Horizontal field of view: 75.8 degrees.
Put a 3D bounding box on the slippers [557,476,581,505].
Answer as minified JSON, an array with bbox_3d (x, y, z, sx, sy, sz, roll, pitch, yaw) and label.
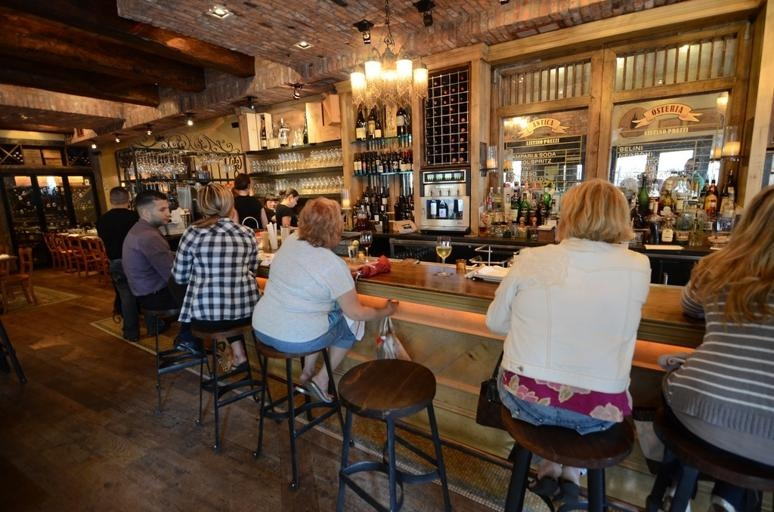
[{"bbox_3d":[1.331,1.715,3.635,0.125,0.076,0.216,-1,1,21],"label":"slippers"}]

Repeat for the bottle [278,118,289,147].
[{"bbox_3d":[-1.718,-2.043,8.290,0.178,0.494,0.389,-2,10,-11],"label":"bottle"}]

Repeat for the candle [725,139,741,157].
[{"bbox_3d":[3.741,-1.153,5.374,0.224,0.166,0.085,-5,12,-28],"label":"candle"}]

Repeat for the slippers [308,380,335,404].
[{"bbox_3d":[-0.599,1.227,4.492,0.091,0.262,0.143,-49,29,-5],"label":"slippers"}]

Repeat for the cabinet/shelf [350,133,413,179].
[{"bbox_3d":[-0.063,-1.495,7.390,0.853,0.426,0.116,-1,-1,24],"label":"cabinet/shelf"}]

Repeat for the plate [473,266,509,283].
[{"bbox_3d":[0.960,0.155,4.454,0.196,0.057,0.189,6,11,32],"label":"plate"}]

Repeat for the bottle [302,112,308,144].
[{"bbox_3d":[-1.314,-2.018,8.018,0.078,0.441,0.282,-3,11,-13],"label":"bottle"}]

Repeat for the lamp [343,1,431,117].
[{"bbox_3d":[0.027,-2.406,5.924,1.159,1.530,1.056,0,14,9],"label":"lamp"}]

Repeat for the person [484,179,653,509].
[{"bbox_3d":[1.277,0.370,3.534,1.035,1.733,0.436,2,11,11],"label":"person"}]

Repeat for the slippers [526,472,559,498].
[{"bbox_3d":[1.161,1.702,3.668,0.115,0.119,0.340,-1,-8,36],"label":"slippers"}]

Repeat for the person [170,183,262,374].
[{"bbox_3d":[-1.606,0.002,4.676,0.786,1.342,0.525,-3,12,-17],"label":"person"}]

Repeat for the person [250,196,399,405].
[{"bbox_3d":[-0.628,0.288,4.253,1.054,1.545,0.410,-2,11,-10],"label":"person"}]
